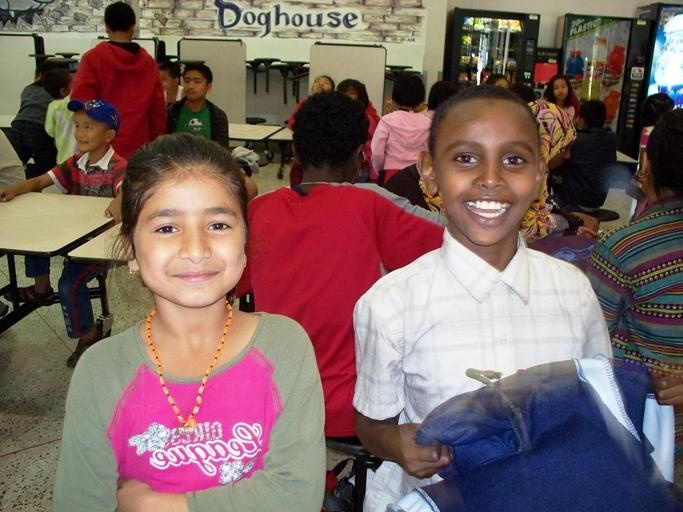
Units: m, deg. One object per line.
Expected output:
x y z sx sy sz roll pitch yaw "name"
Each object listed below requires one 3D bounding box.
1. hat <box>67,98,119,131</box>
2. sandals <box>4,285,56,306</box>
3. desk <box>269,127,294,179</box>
-1.362 -0.778 3.144 0.245 0.163 0.286 1 18 -3 "hat"
-1.670 0.216 3.049 0.234 0.087 0.121 10 9 4 "sandals"
-0.761 -1.400 7.288 0.262 0.667 2.312 0 18 -6 "desk"
